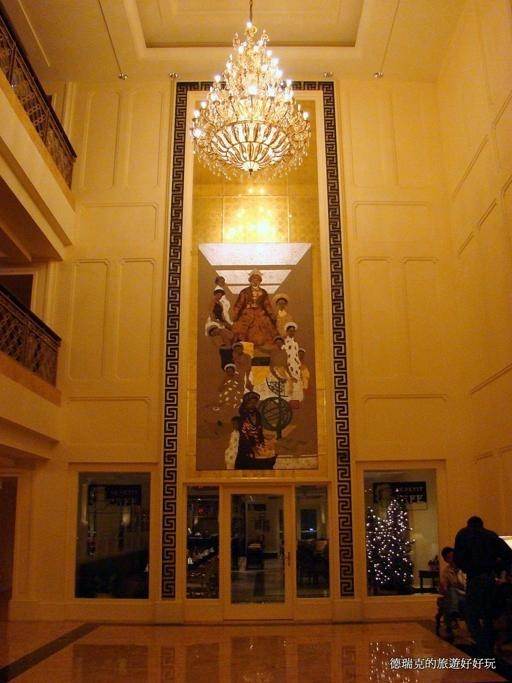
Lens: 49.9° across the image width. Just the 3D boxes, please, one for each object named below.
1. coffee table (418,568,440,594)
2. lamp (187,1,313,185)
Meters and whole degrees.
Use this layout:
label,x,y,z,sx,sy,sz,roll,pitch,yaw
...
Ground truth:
label,x,y,z,sx,sy,sz,roll,pitch,yaw
coffee table,2.456,3.421,7.880,0.329,0.331,0.312,-2,-35,8
lamp,-0.071,-2.937,6.430,1.327,1.948,0.799,-1,-20,3
